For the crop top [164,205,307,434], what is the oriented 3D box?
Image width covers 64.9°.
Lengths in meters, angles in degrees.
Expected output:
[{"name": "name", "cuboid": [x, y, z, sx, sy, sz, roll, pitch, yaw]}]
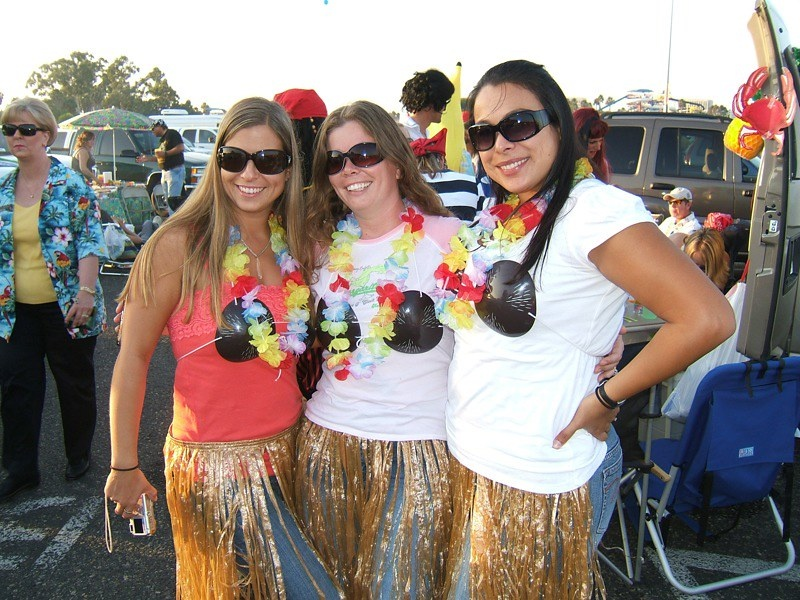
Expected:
[{"name": "crop top", "cuboid": [-0.645, 0.102, 2.637, 0.522, 0.921, 0.505, -1, 9, -32]}]

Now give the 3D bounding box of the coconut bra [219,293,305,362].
[{"name": "coconut bra", "cuboid": [-0.545, 0.098, 2.596, 0.279, 0.141, 0.444, -4, 16, -8]}]

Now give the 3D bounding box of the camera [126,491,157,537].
[{"name": "camera", "cuboid": [-1.008, 0.838, 2.464, 0.085, 0.171, 0.134, -2, 10, -29]}]

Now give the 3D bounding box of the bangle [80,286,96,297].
[{"name": "bangle", "cuboid": [-1.915, -0.054, 3.869, 0.063, 0.039, 0.056, 28, -2, 1]}]

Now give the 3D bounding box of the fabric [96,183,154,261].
[{"name": "fabric", "cuboid": [-4.526, -1.266, 10.591, 0.911, 1.268, 0.931, 4, -4, -33]}]
